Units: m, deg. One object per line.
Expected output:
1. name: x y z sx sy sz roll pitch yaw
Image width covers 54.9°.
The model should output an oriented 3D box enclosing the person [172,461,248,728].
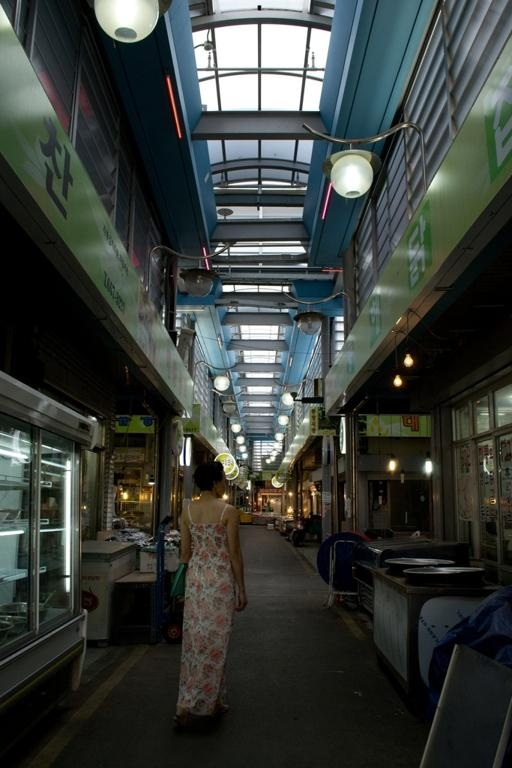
1. person: -0.276 1.256 3.056 0.412 1.541 0.378 1 -12 -5

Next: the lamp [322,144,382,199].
1. lamp: 0.882 -1.888 4.510 0.454 0.410 0.474 5 -3 -22

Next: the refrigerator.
1. refrigerator: -1.768 2.346 5.556 0.505 0.878 1.058 -1 -13 -4

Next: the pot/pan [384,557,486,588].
1. pot/pan: 1.303 1.394 3.636 0.519 0.116 0.877 -2 -14 3

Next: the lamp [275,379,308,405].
1. lamp: 1.963 0.418 26.966 1.002 0.815 1.781 -2 15 22

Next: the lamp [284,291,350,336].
1. lamp: 1.794 -2.009 13.874 1.767 1.689 0.831 0 -11 10

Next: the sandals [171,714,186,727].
1. sandals: -0.455 1.969 2.877 0.052 0.058 0.112 10 -17 -39

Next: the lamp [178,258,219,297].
1. lamp: -0.873 -1.635 7.616 0.423 0.434 0.680 9 -16 -36

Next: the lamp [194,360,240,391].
1. lamp: -1.992 -0.424 24.289 1.482 1.795 0.705 -2 -39 -14
